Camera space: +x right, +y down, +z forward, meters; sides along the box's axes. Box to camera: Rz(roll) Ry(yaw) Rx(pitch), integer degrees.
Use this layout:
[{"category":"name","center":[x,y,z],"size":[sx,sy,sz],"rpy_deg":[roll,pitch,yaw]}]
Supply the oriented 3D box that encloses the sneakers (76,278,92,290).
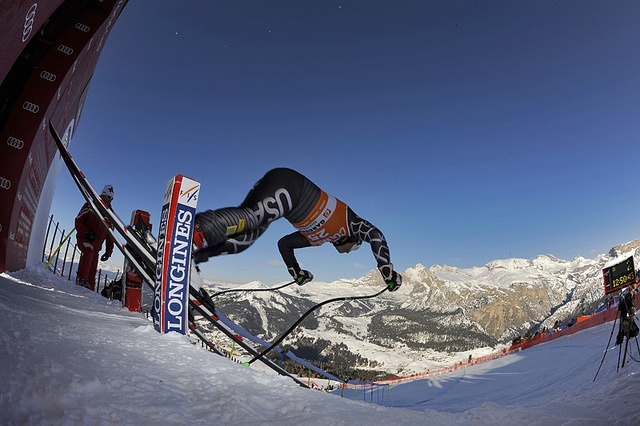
[{"category":"sneakers","center":[-7.039,2.112,10.728],"size":[0.153,0.302,0.429],"rpy_deg":[-10,-48,21]}]
